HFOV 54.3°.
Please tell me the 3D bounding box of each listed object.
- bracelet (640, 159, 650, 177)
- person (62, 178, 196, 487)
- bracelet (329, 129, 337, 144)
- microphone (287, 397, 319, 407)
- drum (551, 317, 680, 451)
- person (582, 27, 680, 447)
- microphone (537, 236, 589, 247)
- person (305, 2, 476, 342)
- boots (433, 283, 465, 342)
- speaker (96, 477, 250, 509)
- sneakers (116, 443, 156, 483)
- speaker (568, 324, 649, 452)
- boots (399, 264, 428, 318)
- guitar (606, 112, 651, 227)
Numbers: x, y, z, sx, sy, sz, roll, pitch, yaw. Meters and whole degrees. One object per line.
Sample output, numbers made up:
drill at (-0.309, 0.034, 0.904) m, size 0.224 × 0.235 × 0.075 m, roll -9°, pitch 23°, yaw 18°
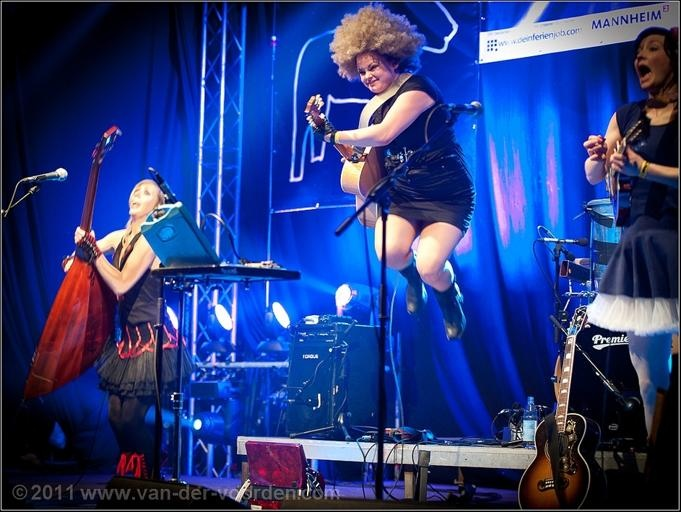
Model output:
bracelet at (1.946, -0.564, 4.249) m, size 0.027 × 0.082 × 0.071 m, roll 4°, pitch -2°, yaw 9°
person at (-1.784, 0.540, 5.628) m, size 1.057 × 2.581 × 0.811 m, roll -4°, pitch -11°, yaw 13°
bracelet at (-0.058, -0.893, 4.964) m, size 0.026 × 0.079 × 0.055 m, roll 4°, pitch -1°, yaw 3°
microphone at (-0.323, 1.287, 5.840) m, size 0.332 × 0.097 × 0.065 m, roll -11°, pitch -14°, yaw 38°
drum at (2.010, 0.936, 4.775) m, size 0.227 × 1.003 × 0.553 m, roll 7°, pitch -23°, yaw -44°
person at (1.997, -0.141, 4.423) m, size 0.697 × 2.689 × 0.592 m, roll -6°, pitch -11°, yaw 20°
microphone at (2.057, -0.144, 6.073) m, size 0.440 × 0.081 × 0.079 m, roll 4°, pitch -10°, yaw -7°
person at (0.448, -0.756, 5.203) m, size 1.199 × 2.719 × 1.032 m, roll -1°, pitch -10°, yaw -2°
boots at (0.872, 0.436, 5.511) m, size 0.180 × 0.571 × 0.238 m, roll -10°, pitch 11°, yaw 32°
speaker at (-0.940, 1.278, 3.579) m, size 0.900 × 0.153 × 0.319 m, roll -7°, pitch -12°, yaw 22°
sneakers at (-1.704, 1.703, 5.485) m, size 0.271 × 0.260 × 0.312 m, roll 2°, pitch -12°, yaw -20°
speaker at (2.127, 1.019, 5.266) m, size 0.257 × 0.931 × 0.602 m, roll 3°, pitch -15°, yaw -45°
boots at (0.602, 0.268, 5.407) m, size 0.161 × 0.502 × 0.328 m, roll -8°, pitch 0°, yaw 22°
guitar at (1.946, -0.588, 4.445) m, size 0.092 × 0.306 × 0.739 m, roll -1°, pitch -21°, yaw 13°
